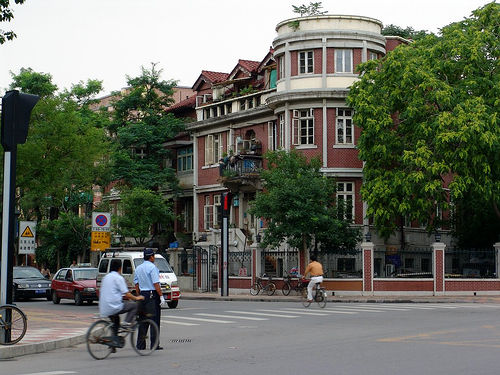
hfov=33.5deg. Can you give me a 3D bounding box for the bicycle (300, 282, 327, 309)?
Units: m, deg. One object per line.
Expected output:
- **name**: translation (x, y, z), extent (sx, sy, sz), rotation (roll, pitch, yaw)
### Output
- **bicycle**: translation (3.022, 4.697, 36.299), extent (0.870, 1.037, 1.652), rotation (3, -3, -29)

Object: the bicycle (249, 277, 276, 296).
- **bicycle**: translation (0.704, 5.398, 44.826), extent (1.315, 0.837, 0.689), rotation (-2, -4, 5)

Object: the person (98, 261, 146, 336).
- **person**: translation (-3.370, 2.863, 21.483), extent (0.958, 1.907, 0.571), rotation (5, -9, -25)

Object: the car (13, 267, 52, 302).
- **car**: translation (-11.768, 5.177, 44.675), extent (1.809, 1.280, 3.181), rotation (5, -11, -33)

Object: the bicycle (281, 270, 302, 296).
- **bicycle**: translation (2.202, 5.085, 43.636), extent (1.147, 1.172, 1.837), rotation (4, -7, -35)

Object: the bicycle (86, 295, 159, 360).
- **bicycle**: translation (-3.248, 3.642, 21.576), extent (0.957, 1.549, 2.424), rotation (-3, -8, 42)

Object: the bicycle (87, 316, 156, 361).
- **bicycle**: translation (-3.201, 3.660, 21.267), extent (2.137, 1.373, 1.049), rotation (-7, -11, 22)

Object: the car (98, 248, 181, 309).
- **car**: translation (-5.254, 4.083, 37.422), extent (2.666, 2.767, 4.643), rotation (6, -9, -41)
